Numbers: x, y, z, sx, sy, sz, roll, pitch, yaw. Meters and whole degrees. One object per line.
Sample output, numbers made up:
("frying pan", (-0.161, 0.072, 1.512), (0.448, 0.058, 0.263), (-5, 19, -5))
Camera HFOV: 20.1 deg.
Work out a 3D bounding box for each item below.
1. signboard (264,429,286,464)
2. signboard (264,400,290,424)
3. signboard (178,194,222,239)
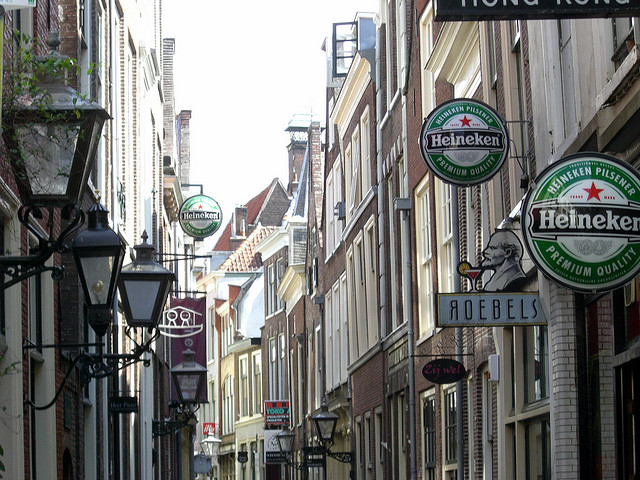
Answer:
("signboard", (-1.274, 5.439, 50.875), (0.651, 0.763, 1.465), (-3, -49, -4))
("signboard", (-1.331, 5.239, 55.969), (0.734, 1.026, 0.825), (-1, -25, -3))
("signboard", (-3.023, -0.595, 45.529), (0.821, 1.406, 0.946), (4, -10, -18))
